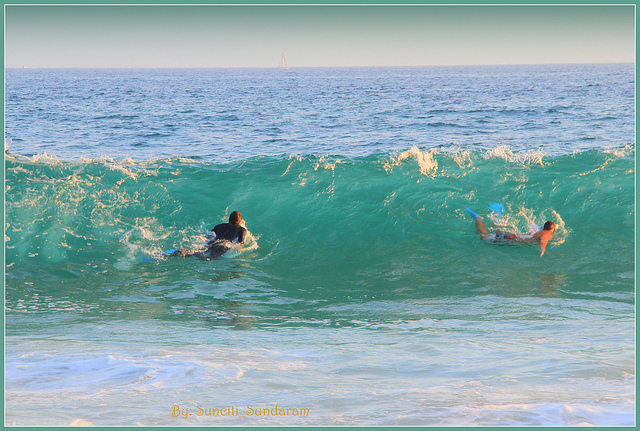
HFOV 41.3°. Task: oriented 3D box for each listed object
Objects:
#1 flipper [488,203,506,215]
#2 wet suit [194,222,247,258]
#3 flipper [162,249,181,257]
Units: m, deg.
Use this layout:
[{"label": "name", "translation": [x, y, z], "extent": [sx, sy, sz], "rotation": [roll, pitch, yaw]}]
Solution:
[{"label": "flipper", "translation": [6.528, -0.238, 31.381], "extent": [0.591, 0.368, 0.625], "rotation": [-2, 7, -4]}, {"label": "wet suit", "translation": [-3.484, 0.899, 30.167], "extent": [1.704, 1.191, 0.379], "rotation": [-2, 10, -6]}, {"label": "flipper", "translation": [-5.261, 1.350, 30.216], "extent": [0.567, 0.091, 0.287], "rotation": [-5, 12, 15]}]
